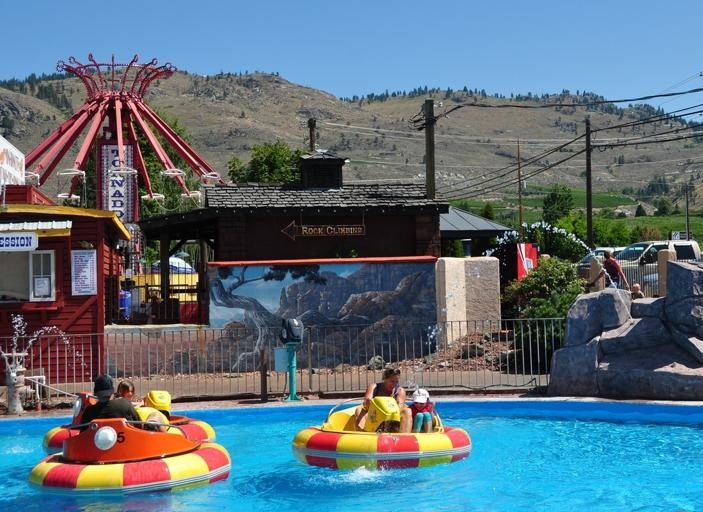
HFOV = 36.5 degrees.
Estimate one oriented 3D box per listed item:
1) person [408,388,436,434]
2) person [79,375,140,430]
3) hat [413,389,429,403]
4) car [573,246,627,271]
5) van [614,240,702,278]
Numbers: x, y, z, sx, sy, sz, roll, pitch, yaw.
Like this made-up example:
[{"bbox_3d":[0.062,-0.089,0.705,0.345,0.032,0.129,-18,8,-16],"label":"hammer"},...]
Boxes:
[{"bbox_3d":[1.653,3.713,25.222,0.613,1.046,0.703,-4,-1,0],"label":"person"},{"bbox_3d":[-5.411,3.264,24.096,1.292,1.150,0.747,0,-3,-13],"label":"person"},{"bbox_3d":[1.642,3.285,25.146,0.342,0.342,0.355,-1,-3,3],"label":"hat"},{"bbox_3d":[10.854,0.102,46.890,2.276,1.231,1.353,1,-2,-18],"label":"car"},{"bbox_3d":[12.839,-0.189,44.889,3.473,1.964,2.033,1,-1,3],"label":"van"}]
